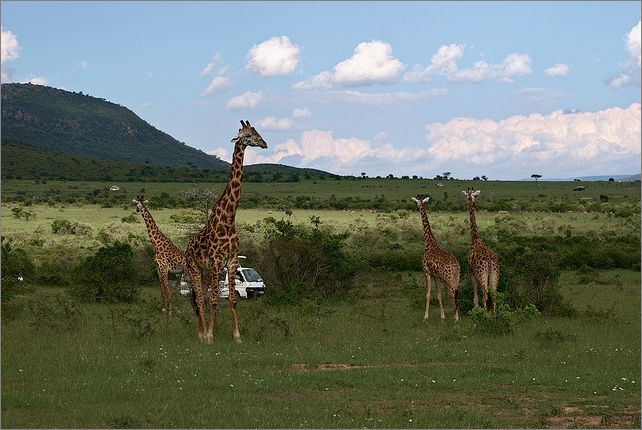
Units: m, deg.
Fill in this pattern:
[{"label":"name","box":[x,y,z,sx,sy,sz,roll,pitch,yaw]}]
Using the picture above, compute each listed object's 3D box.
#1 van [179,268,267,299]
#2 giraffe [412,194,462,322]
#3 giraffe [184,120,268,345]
[{"label":"van","box":[-5.015,3.754,37.907,3.816,1.737,2.146,-1,-2,25]},{"label":"giraffe","box":[5.397,2.022,31.695,1.978,5.668,3.481,2,10,7]},{"label":"giraffe","box":[-4.158,1.025,27.304,2.135,7.871,2.597,-3,10,-18]}]
